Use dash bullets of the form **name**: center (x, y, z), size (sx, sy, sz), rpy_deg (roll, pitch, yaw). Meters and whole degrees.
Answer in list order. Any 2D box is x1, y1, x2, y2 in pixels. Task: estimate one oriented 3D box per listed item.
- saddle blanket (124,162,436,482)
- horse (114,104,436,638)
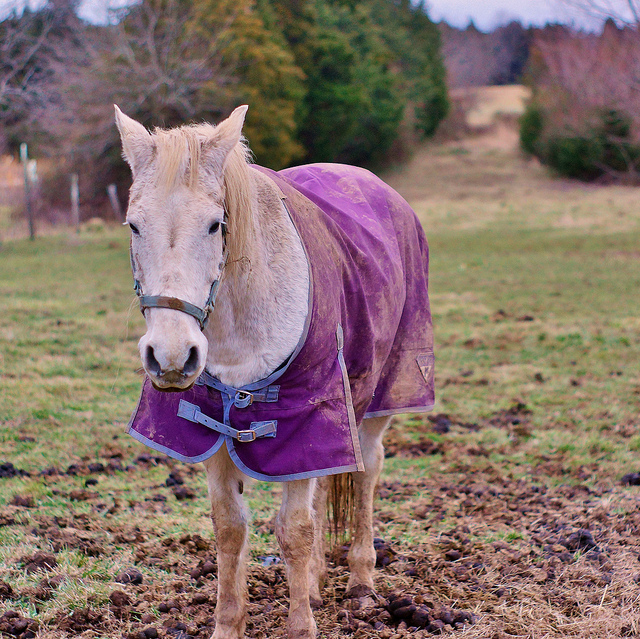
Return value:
- **saddle blanket**: center (-0.063, -0.218, 11.440), size (1.647, 2.067, 2.920), rpy_deg (5, 14, 28)
- **horse**: center (-0.217, 0.355, 10.634), size (2.284, 3.699, 1.148), rpy_deg (-7, 14, -32)
